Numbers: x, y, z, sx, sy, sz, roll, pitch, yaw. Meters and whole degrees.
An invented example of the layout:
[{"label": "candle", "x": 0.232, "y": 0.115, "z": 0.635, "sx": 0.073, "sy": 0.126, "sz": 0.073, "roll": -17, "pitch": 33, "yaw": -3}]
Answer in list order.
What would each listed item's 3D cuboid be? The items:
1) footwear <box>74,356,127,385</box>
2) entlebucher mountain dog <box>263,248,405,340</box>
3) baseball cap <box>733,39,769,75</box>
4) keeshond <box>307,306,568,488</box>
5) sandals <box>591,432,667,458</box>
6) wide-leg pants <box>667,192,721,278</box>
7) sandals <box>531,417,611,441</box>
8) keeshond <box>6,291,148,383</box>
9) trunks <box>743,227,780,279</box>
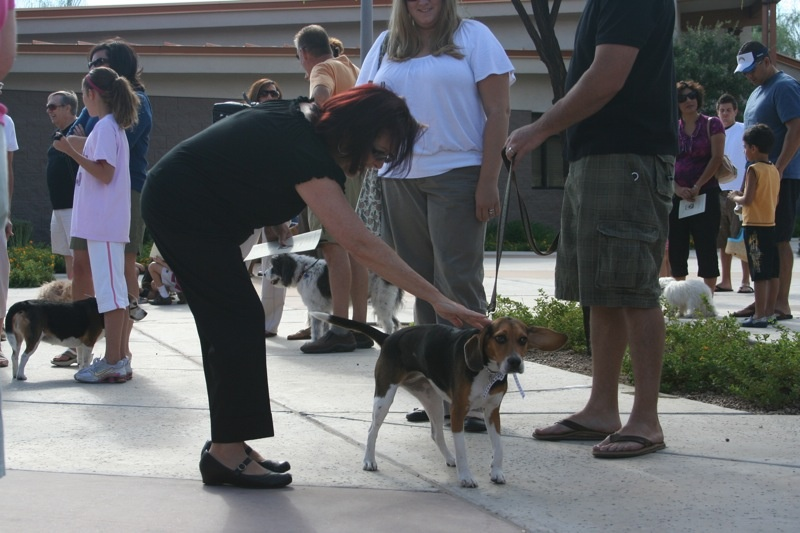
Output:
[{"label": "footwear", "x": -2.328, "y": 0.847, "z": 7.705, "sx": 0.445, "sy": 0.243, "sz": 0.166, "roll": 3, "pitch": -5, "yaw": -8}, {"label": "entlebucher mountain dog", "x": -0.605, "y": 0.306, "z": 9.783, "sx": 1.443, "sy": 0.906, "sz": 0.414, "roll": -1, "pitch": 11, "yaw": 0}, {"label": "baseball cap", "x": 3.840, "y": -2.274, "z": 10.439, "sx": 0.397, "sy": 0.250, "sz": 0.260, "roll": -41, "pitch": 20, "yaw": -19}, {"label": "keeshond", "x": 0.187, "y": 0.809, "z": 6.394, "sx": 0.685, "sy": 1.081, "sz": 2.064, "roll": -4, "pitch": 5, "yaw": -39}, {"label": "sandals", "x": 1.491, "y": 1.181, "z": 6.415, "sx": 0.351, "sy": 0.099, "sz": 0.198, "roll": 0, "pitch": -2, "yaw": -9}, {"label": "wide-leg pants", "x": 3.252, "y": -0.429, "z": 10.831, "sx": 0.563, "sy": 1.157, "sz": 0.399, "roll": -1, "pitch": 3, "yaw": 19}, {"label": "sandals", "x": 1.167, "y": 1.139, "z": 6.643, "sx": 0.493, "sy": 0.145, "sz": 0.200, "roll": 2, "pitch": -9, "yaw": -9}, {"label": "keeshond", "x": -2.765, "y": 0.650, "z": 7.956, "sx": 1.323, "sy": 0.816, "sz": 0.601, "roll": -1, "pitch": -4, "yaw": 5}, {"label": "trunks", "x": 3.735, "y": -0.167, "z": 9.989, "sx": 0.360, "sy": 0.694, "sz": 0.501, "roll": -3, "pitch": 8, "yaw": 17}]
